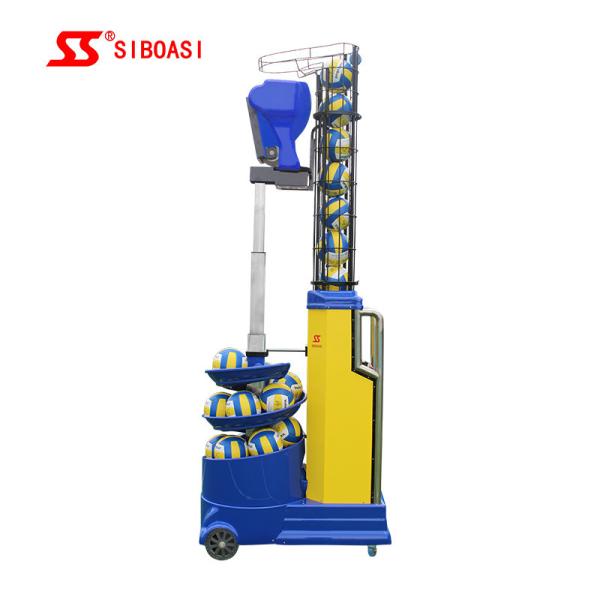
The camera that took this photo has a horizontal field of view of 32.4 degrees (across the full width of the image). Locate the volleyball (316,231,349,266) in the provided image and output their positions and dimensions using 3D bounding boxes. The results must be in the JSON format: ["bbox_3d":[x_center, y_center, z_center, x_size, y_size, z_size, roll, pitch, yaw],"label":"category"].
[{"bbox_3d":[0.214,-0.360,7.191,0.230,0.291,0.235,0,7,-2],"label":"volleyball"}]

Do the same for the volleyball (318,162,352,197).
[{"bbox_3d":[0.239,-0.825,7.066,0.183,0.202,0.241,4,-76,4],"label":"volleyball"}]

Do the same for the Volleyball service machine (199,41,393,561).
[{"bbox_3d":[-0.070,0.189,6.978,1.257,3.115,1.861,-2,-34,3],"label":"Volleyball service machine"}]
